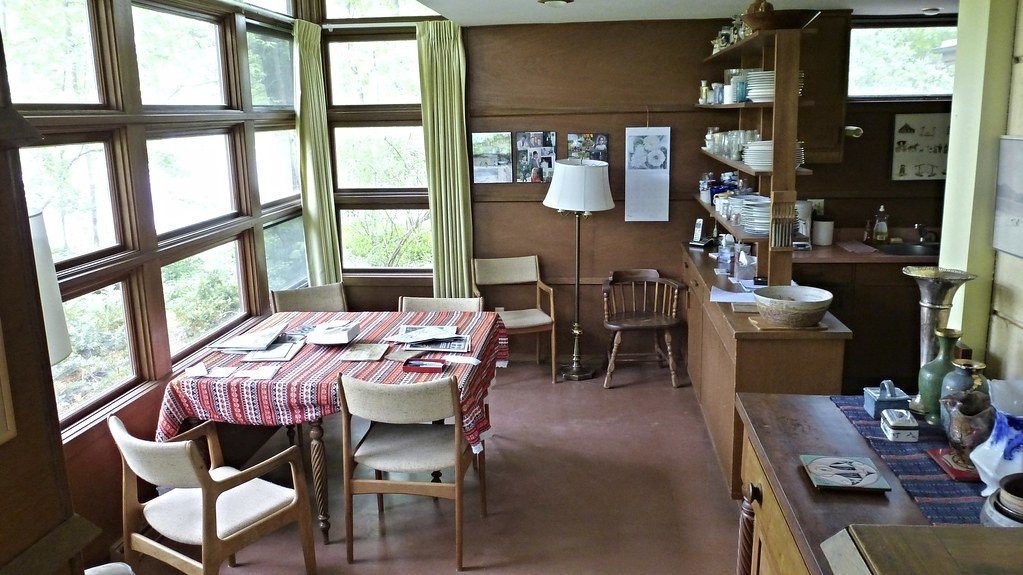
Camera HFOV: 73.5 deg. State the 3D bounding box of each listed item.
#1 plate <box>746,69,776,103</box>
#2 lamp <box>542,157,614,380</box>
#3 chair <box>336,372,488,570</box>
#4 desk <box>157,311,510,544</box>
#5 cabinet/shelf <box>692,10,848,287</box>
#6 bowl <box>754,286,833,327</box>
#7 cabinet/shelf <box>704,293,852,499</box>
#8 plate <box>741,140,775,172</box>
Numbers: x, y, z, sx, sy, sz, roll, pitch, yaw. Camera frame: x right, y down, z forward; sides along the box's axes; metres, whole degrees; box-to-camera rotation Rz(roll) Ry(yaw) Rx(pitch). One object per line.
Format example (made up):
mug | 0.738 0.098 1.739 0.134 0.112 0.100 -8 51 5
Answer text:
plate | 1.656 -1.339 4.550 0.228 0.177 0.204 -4 12 -9
lamp | 0.599 -0.182 6.286 0.583 1.953 0.762 1 18 6
chair | -0.626 1.046 4.303 0.890 1.196 0.700 0 17 3
desk | -1.201 0.603 4.700 1.878 0.744 1.685 1 8 12
cabinet/shelf | 2.037 -1.094 5.309 0.516 1.454 2.400 1 10 9
bowl | 1.790 0.128 4.398 0.480 0.184 0.452 -2 16 0
cabinet/shelf | 1.507 0.598 3.912 0.499 0.704 1.407 -1 9 2
plate | 1.618 -0.878 4.590 0.225 0.150 0.208 -9 14 -27
